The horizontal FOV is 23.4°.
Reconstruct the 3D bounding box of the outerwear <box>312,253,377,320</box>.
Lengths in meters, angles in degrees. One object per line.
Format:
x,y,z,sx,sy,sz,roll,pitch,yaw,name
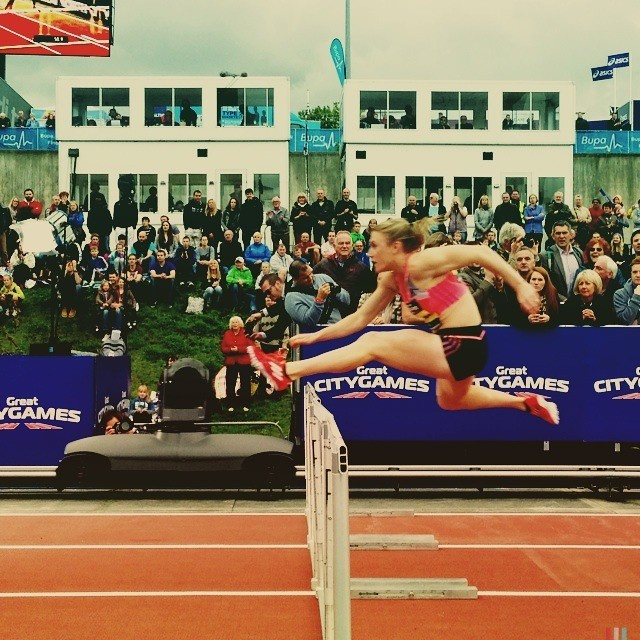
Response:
0.479,-0.651,31.379,1.202,1.204,0.421,-1,7,-24,outerwear

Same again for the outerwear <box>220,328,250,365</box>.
-1.937,0.619,34.843,0.852,1.201,0.731,-1,0,-6,outerwear
